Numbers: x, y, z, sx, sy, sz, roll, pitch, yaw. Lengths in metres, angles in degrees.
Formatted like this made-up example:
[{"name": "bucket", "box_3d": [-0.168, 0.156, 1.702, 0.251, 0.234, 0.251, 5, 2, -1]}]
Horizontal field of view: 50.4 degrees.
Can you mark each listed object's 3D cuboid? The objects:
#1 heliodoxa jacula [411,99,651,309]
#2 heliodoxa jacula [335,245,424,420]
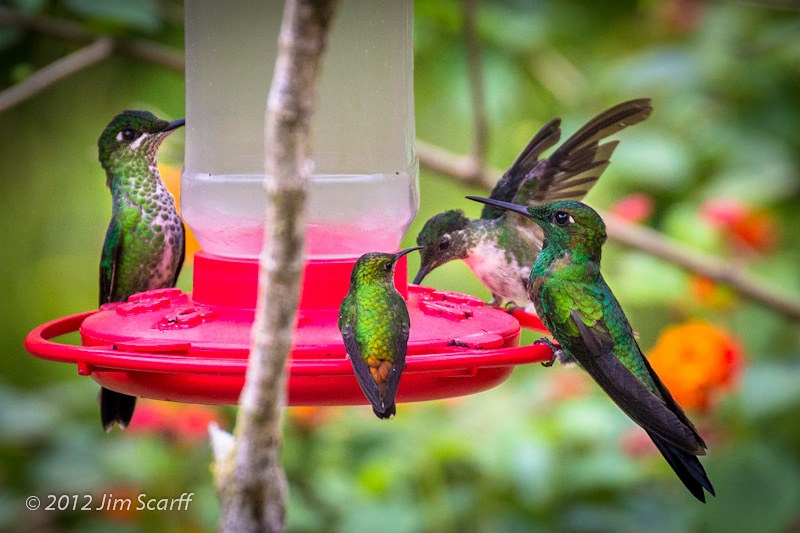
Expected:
[{"name": "heliodoxa jacula", "box_3d": [0.520, -0.241, 3.422, 0.851, 0.679, 0.806, -18, 8, 8]}, {"name": "heliodoxa jacula", "box_3d": [-0.054, 0.192, 2.517, 0.215, 0.547, 0.232, -2, -40, 1]}]
